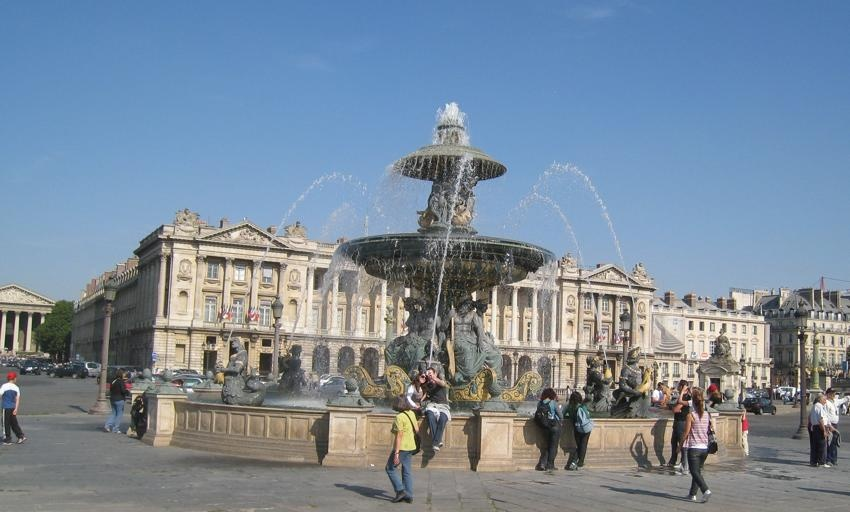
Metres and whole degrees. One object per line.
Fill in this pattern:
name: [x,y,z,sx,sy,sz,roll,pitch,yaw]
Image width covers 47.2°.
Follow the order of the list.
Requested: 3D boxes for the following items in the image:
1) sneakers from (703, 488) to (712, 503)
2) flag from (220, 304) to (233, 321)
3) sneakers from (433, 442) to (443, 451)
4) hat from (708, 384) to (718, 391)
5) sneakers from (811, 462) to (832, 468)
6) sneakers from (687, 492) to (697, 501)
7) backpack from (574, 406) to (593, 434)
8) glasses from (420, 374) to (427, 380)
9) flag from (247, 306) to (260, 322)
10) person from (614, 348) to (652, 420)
sneakers: [6.901,5.882,23.836,0.165,0.180,0.417,8,-55,-16]
flag: [-18.380,5.434,90.604,1.003,1.496,1.572,4,-12,-12]
sneakers: [0.351,5.009,25.498,0.152,0.171,0.402,3,-19,-26]
hat: [8.691,3.993,29.432,0.270,0.126,0.223,-7,4,38]
sneakers: [11.763,6.221,28.834,0.571,0.203,0.182,0,-3,-9]
sneakers: [6.570,5.949,24.041,0.218,0.144,0.220,0,-10,14]
backpack: [4.260,4.391,26.150,0.524,0.745,0.307,4,-10,-8]
glasses: [-0.036,3.212,25.710,0.114,0.141,0.109,5,0,3]
flag: [-16.212,5.562,92.036,1.076,1.282,0.385,2,-4,3]
person: [5.871,3.724,28.153,1.424,1.831,0.905,6,-6,-12]
